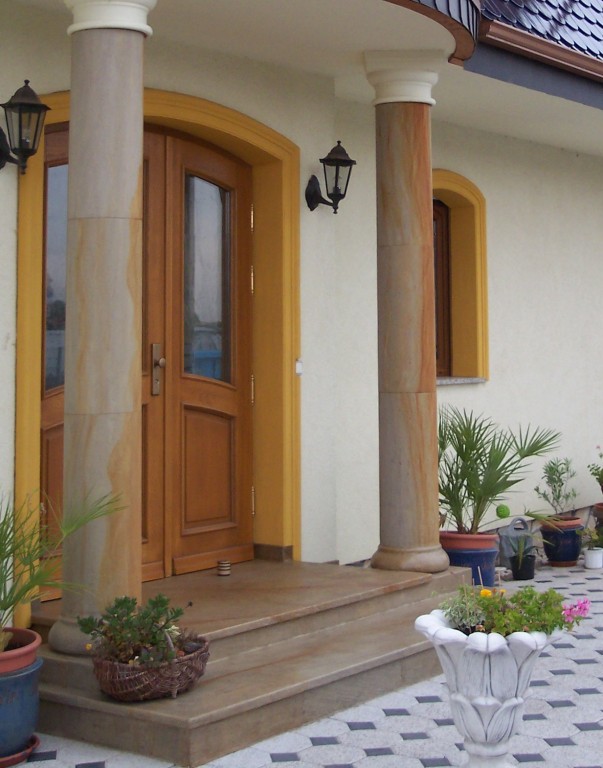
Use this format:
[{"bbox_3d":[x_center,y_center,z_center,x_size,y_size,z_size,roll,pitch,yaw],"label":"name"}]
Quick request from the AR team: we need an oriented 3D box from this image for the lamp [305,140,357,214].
[{"bbox_3d":[0.212,-1.341,5.042,0.280,0.427,0.336,-2,-3,23],"label":"lamp"}]

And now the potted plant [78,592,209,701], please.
[{"bbox_3d":[-0.544,0.918,2.612,0.428,0.339,0.359,0,2,-5],"label":"potted plant"}]
